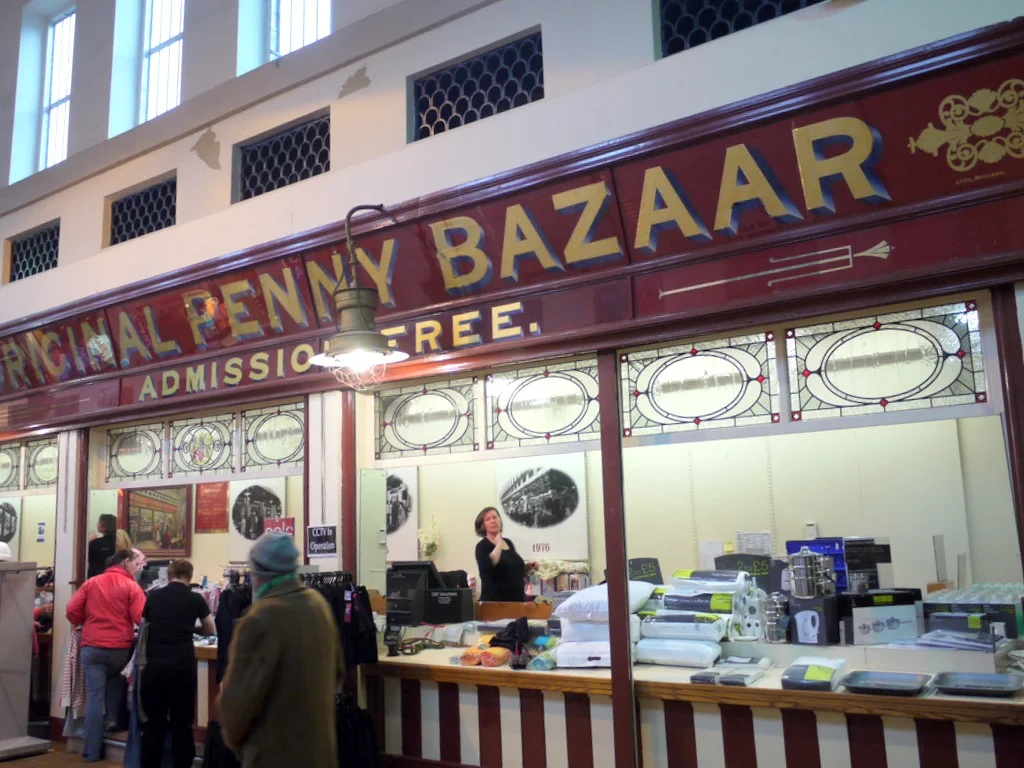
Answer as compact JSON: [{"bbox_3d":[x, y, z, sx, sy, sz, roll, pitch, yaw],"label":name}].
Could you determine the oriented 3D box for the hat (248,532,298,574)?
[{"bbox_3d":[-1.245,0.890,4.374,0.208,0.176,0.209,5,-2,7],"label":"hat"}]

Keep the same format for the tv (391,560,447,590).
[{"bbox_3d":[-0.755,1.489,6.453,0.444,0.210,0.240,0,-13,-9],"label":"tv"}]

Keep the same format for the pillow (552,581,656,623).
[{"bbox_3d":[0.641,1.511,5.737,0.706,0.269,0.461,-3,-13,5],"label":"pillow"}]

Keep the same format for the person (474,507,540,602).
[{"bbox_3d":[-0.102,1.400,6.771,0.385,0.725,0.214,-1,-13,-3],"label":"person"}]

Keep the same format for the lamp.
[{"bbox_3d":[-1.053,-0.764,5.779,0.612,1.533,1.468,1,-13,-10],"label":"lamp"}]

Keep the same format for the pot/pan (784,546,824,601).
[{"bbox_3d":[1.880,1.218,5.317,0.209,0.305,0.129,-6,-14,20],"label":"pot/pan"}]
